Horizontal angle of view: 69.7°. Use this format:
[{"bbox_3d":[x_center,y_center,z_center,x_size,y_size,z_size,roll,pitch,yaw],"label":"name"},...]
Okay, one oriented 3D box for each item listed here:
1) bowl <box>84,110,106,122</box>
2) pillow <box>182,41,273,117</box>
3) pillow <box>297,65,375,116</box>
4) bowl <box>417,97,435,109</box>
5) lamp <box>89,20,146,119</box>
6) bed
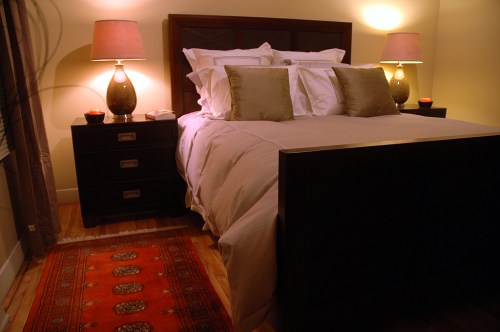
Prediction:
[{"bbox_3d":[-1.374,-0.437,3.181,0.145,0.105,0.191,-7,13,-14],"label":"bowl"},{"bbox_3d":[-0.358,-0.776,3.606,0.697,0.749,0.234,3,-9,-25],"label":"pillow"},{"bbox_3d":[0.675,-0.691,3.308,0.467,0.441,0.135,-8,-9,-24],"label":"pillow"},{"bbox_3d":[2.066,-0.743,4.224,0.157,0.111,0.165,-1,10,0],"label":"bowl"},{"bbox_3d":[-1.219,-0.890,3.362,0.462,0.860,0.355,-9,14,-18],"label":"lamp"},{"bbox_3d":[0.302,-0.019,2.983,2.350,1.626,2.485,-7,19,-18],"label":"bed"}]
